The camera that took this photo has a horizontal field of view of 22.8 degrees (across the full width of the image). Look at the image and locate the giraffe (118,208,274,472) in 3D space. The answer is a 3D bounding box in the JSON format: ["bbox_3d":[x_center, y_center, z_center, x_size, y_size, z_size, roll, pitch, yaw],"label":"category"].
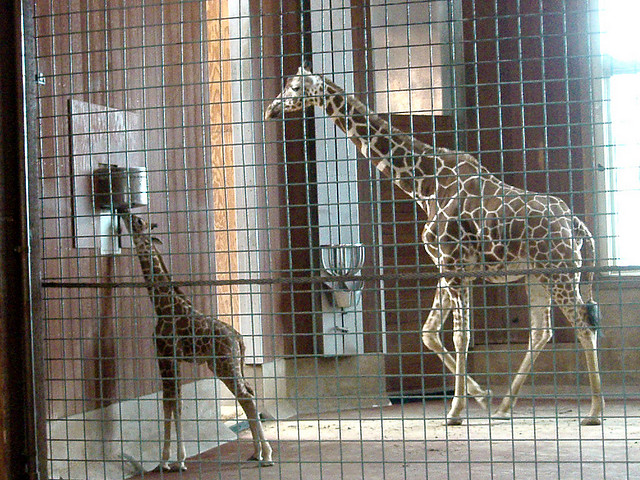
[{"bbox_3d":[-0.707,0.588,9.134,0.801,1.642,1.468,-4,-23,-2],"label":"giraffe"}]
